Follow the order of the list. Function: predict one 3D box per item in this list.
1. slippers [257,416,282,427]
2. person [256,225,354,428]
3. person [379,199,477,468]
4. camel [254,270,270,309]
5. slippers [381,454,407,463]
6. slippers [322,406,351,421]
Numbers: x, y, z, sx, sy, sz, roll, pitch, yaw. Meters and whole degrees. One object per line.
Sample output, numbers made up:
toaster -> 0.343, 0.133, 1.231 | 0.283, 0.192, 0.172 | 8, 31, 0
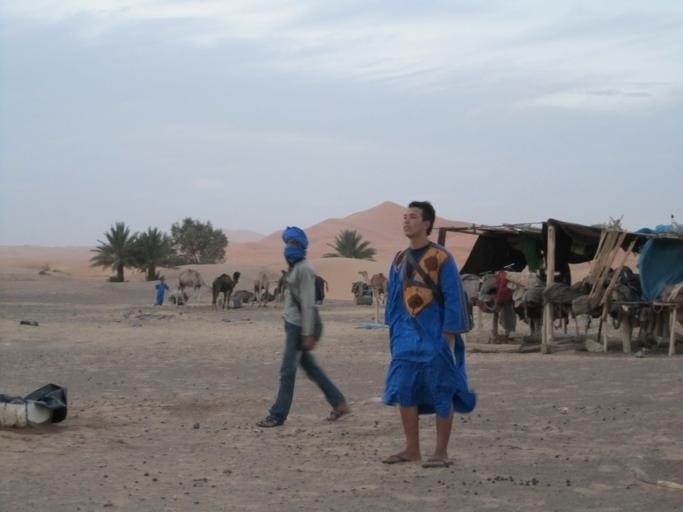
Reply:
slippers -> -0.958, 2.129, 13.416 | 0.372, 0.146, 0.268 | 0, 6, 11
person -> -0.549, 0.878, 13.479 | 1.125, 2.608, 1.448 | -2, 7, 0
person -> 0.978, 0.883, 11.774 | 1.050, 2.966, 0.739 | 0, 7, 14
camel -> -3.058, 1.131, 38.920 | 0.659, 1.213, 2.393 | -1, 8, -8
slippers -> 0.601, 2.321, 11.845 | 0.250, 0.054, 0.105 | 3, -10, -3
slippers -> -0.032, 2.084, 13.683 | 0.408, 0.151, 0.138 | -5, -3, -24
